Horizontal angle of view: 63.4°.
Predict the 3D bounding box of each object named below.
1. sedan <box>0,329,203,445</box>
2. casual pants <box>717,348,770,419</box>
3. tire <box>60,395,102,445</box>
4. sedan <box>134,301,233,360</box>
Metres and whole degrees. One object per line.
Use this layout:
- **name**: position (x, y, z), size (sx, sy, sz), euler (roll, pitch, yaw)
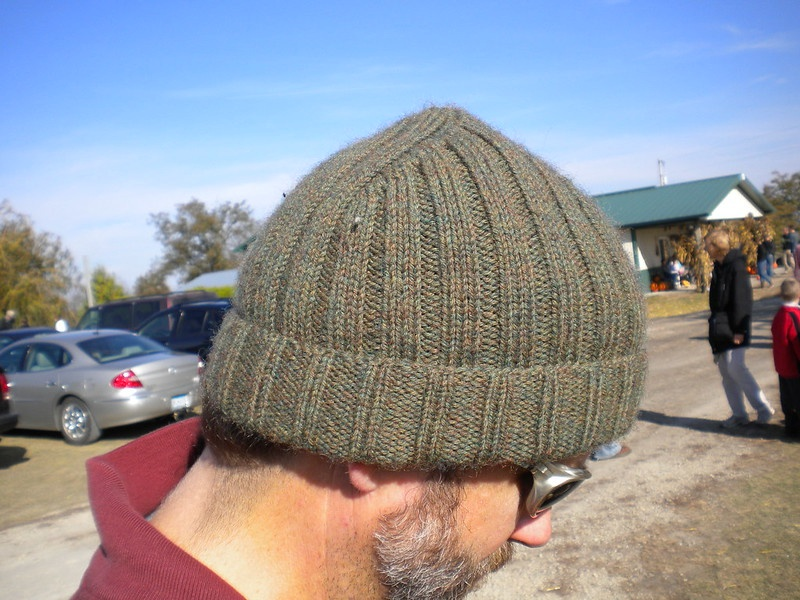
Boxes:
- **sedan**: position (-4.283, 1.128, 9.323), size (2.886, 1.168, 1.418), euler (6, 5, 31)
- **casual pants**: position (3.807, 0.941, 7.173), size (0.541, 0.848, 0.315), euler (0, 7, 30)
- **tire**: position (-4.445, 1.682, 8.966), size (0.548, 0.664, 0.207), euler (5, 9, 18)
- **sedan**: position (-3.180, 0.448, 9.424), size (1.188, 0.736, 0.794), euler (6, 0, 18)
